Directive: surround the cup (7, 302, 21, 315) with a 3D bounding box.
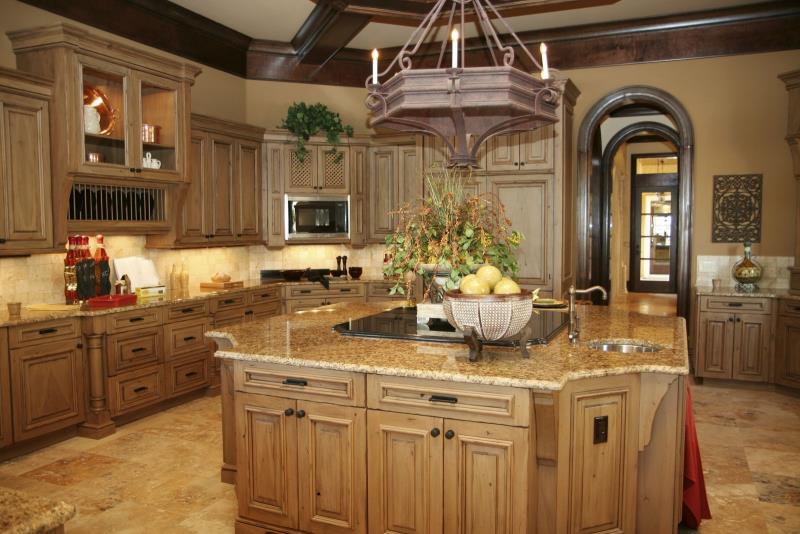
[{"bbox_3d":[-3.487,0.378,5.127,0.119,0.080,0.117,1,-4,0],"label":"cup"}]

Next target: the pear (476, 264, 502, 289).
[{"bbox_3d":[0.590,0.057,3.756,0.166,0.151,0.174,5,5,30],"label":"pear"}]

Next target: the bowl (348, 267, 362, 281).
[{"bbox_3d":[-0.630,0.082,7.995,0.178,0.170,0.235,-2,13,-5],"label":"bowl"}]

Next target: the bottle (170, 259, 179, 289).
[{"bbox_3d":[-2.683,0.077,6.733,0.117,0.325,0.397,-6,14,-21],"label":"bottle"}]

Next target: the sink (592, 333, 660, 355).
[{"bbox_3d":[1.576,0.570,4.039,0.485,0.103,0.182,0,12,2],"label":"sink"}]

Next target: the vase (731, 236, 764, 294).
[{"bbox_3d":[4.088,-0.018,6.656,0.306,0.538,0.636,8,16,32],"label":"vase"}]

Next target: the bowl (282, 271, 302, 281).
[{"bbox_3d":[-1.472,0.111,7.761,0.265,0.138,0.149,-2,13,-9],"label":"bowl"}]

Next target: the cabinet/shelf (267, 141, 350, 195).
[{"bbox_3d":[-1.305,-1.355,7.751,0.874,0.464,0.286,1,5,-5],"label":"cabinet/shelf"}]

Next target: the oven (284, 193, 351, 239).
[{"bbox_3d":[-0.970,-0.699,8.018,1.177,0.625,0.666,3,7,35],"label":"oven"}]

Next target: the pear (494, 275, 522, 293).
[{"bbox_3d":[0.695,0.124,3.674,0.123,0.113,0.122,-16,-4,14],"label":"pear"}]

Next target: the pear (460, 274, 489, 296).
[{"bbox_3d":[0.472,0.112,3.665,0.142,0.070,0.136,7,9,41],"label":"pear"}]
